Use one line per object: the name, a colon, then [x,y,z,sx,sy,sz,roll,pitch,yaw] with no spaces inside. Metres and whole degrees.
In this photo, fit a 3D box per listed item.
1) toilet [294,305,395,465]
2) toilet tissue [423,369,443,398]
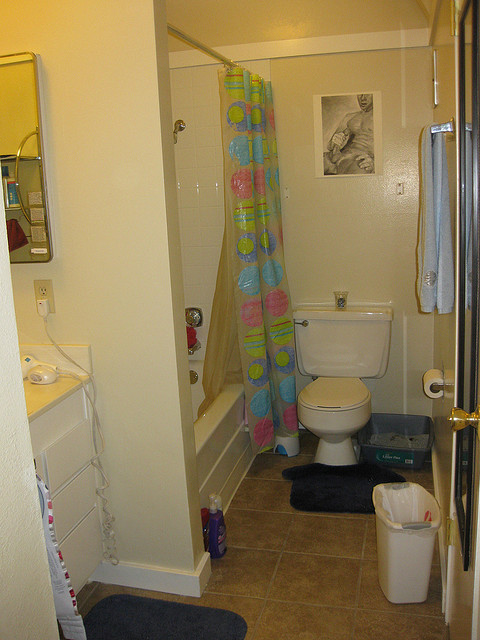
toilet: [0.538,0.369,2.823,0.521,0.832,0.617,-1,11,15]
toilet tissue: [0.662,0.215,1.842,0.091,0.088,0.110,-5,11,20]
